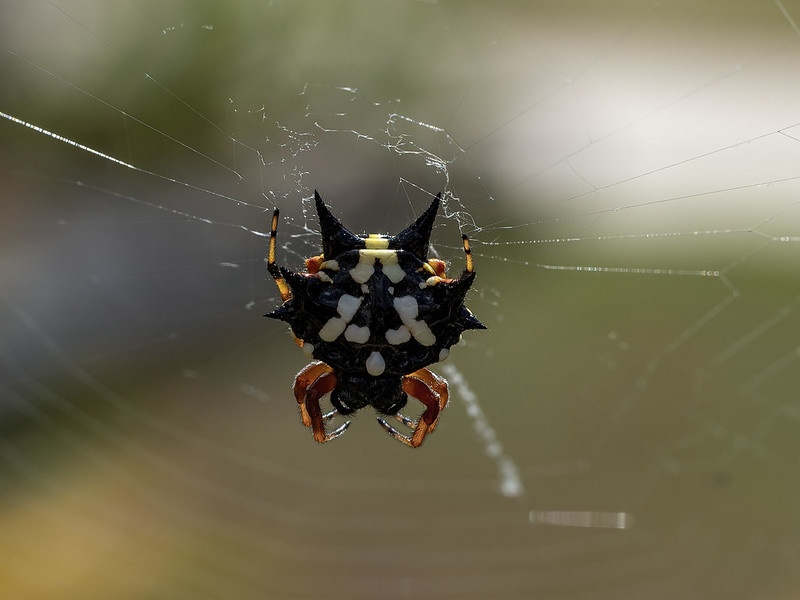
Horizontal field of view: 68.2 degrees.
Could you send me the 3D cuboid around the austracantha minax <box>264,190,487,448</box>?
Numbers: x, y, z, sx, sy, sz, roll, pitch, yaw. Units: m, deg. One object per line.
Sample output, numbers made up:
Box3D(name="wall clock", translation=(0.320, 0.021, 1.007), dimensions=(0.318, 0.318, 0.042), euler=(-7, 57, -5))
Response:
Box3D(name="austracantha minax", translation=(-0.052, 0.075, 1.556), dimensions=(0.519, 0.268, 0.743), euler=(-7, -79, 2))
